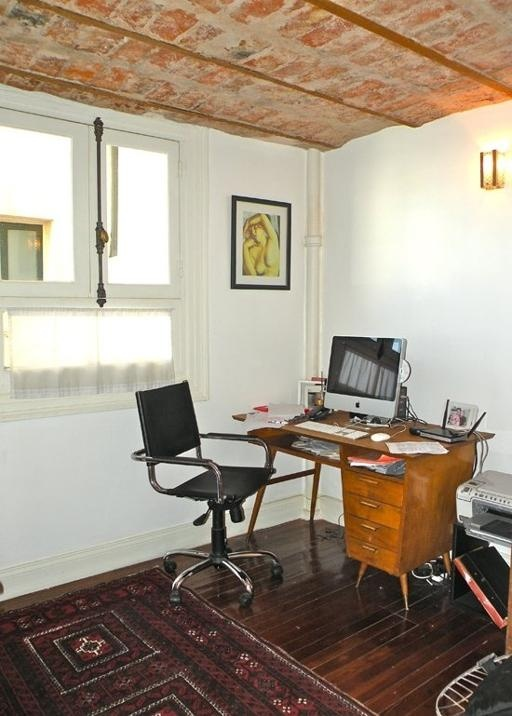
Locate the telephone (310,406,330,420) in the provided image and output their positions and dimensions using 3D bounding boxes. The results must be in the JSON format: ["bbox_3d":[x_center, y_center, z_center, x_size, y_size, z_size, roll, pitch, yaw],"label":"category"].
[{"bbox_3d":[0.380,0.337,3.330,0.079,0.028,0.078,-22,7,-3],"label":"telephone"}]

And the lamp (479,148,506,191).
[{"bbox_3d":[1.211,-0.961,2.849,0.113,0.191,0.081,2,3,25],"label":"lamp"}]

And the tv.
[{"bbox_3d":[0.602,0.108,3.177,0.474,0.443,0.041,8,-1,-21],"label":"tv"}]

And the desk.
[{"bbox_3d":[0.534,0.739,3.239,0.686,0.693,1.252,-1,4,-36],"label":"desk"}]

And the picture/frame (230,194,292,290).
[{"bbox_3d":[0.019,-0.785,3.741,0.701,0.786,0.042,-3,4,-44],"label":"picture/frame"}]

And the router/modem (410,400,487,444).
[{"bbox_3d":[1.015,0.341,2.848,0.258,0.121,0.253,-6,8,-36],"label":"router/modem"}]

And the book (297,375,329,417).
[{"bbox_3d":[0.377,0.244,3.713,0.177,0.303,0.292,-1,-4,-30],"label":"book"}]

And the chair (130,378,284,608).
[{"bbox_3d":[-0.215,0.678,2.858,0.714,0.966,0.724,6,6,38],"label":"chair"}]
